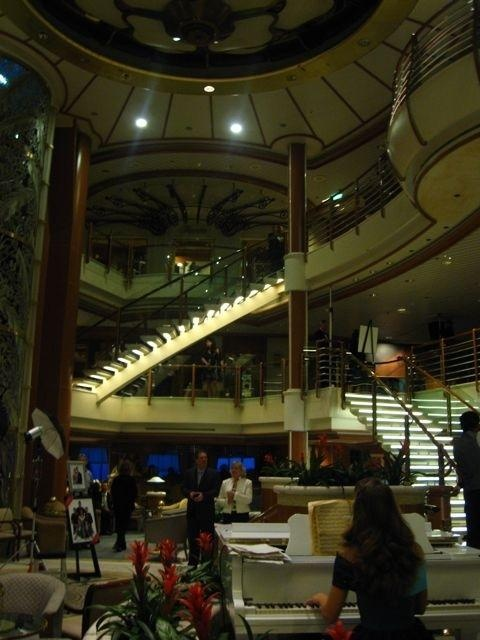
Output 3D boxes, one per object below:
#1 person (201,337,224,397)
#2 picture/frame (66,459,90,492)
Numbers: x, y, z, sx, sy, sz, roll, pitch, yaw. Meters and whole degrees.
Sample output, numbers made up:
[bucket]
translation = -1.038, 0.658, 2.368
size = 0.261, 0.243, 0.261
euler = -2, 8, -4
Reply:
[person]
translation = -0.691, 1.160, 13.381
size = 0.497, 1.450, 0.720
euler = 1, -14, -3
[picture/frame]
translation = -1.992, 1.923, 6.657
size = 0.205, 0.372, 0.651
euler = 3, -14, -8
